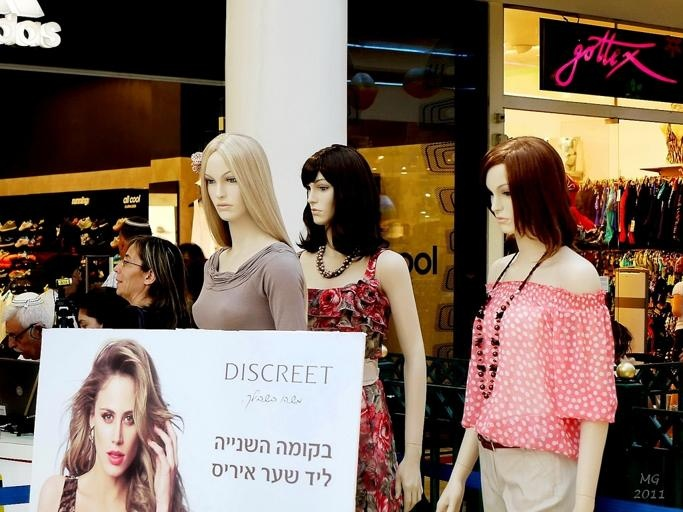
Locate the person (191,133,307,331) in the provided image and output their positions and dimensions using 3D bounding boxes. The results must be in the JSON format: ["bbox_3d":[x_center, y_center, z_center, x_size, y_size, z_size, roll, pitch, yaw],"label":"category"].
[{"bbox_3d":[-0.308,0.075,2.219,0.385,0.938,0.261,-6,-7,33],"label":"person"}]

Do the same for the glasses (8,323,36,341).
[{"bbox_3d":[-1.981,0.472,4.194,0.114,0.051,0.123,0,-8,39],"label":"glasses"}]

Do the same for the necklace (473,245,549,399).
[{"bbox_3d":[0.586,0.270,2.201,0.219,0.425,0.373,16,-10,29],"label":"necklace"}]
